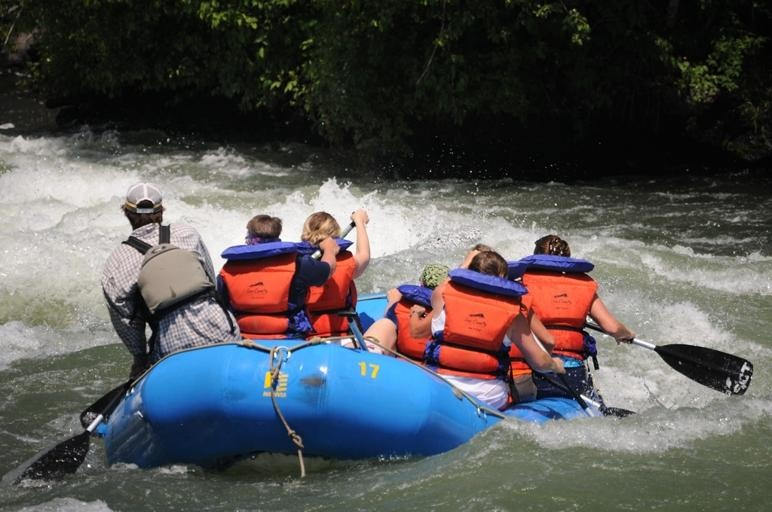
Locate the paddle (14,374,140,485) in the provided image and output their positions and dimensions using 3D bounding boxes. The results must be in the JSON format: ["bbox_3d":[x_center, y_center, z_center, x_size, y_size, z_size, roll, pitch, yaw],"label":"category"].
[{"bbox_3d":[-3.520,2.020,10.540,1.619,0.243,0.131,-44,10,-21],"label":"paddle"}]

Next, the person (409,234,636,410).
[{"bbox_3d":[2.221,0.586,11.032,2.109,0.919,1.495,18,54,5],"label":"person"}]

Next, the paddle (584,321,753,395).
[{"bbox_3d":[3.646,1.355,11.954,2.658,0.529,0.136,18,-5,14],"label":"paddle"}]
